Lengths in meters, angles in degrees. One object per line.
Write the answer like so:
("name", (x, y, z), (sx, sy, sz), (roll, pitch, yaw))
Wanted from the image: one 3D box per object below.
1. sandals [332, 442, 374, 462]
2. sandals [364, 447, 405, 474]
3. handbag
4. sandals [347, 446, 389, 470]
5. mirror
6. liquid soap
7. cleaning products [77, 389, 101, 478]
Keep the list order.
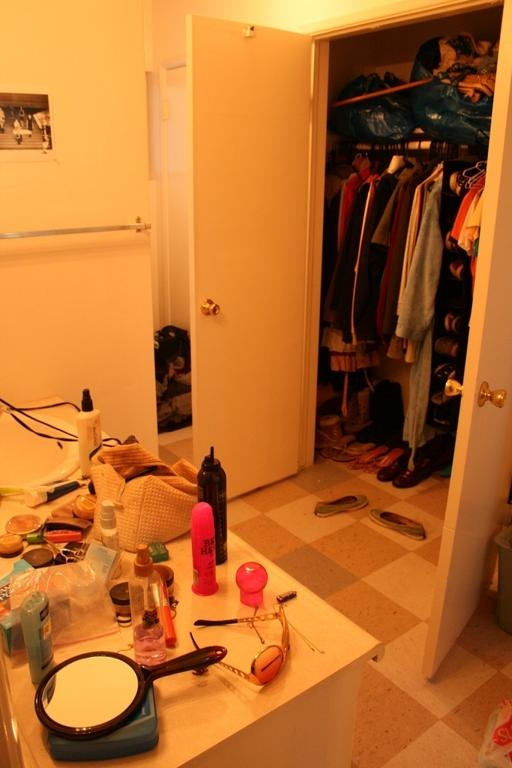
("sandals", (0.567, 0.402, 3.460), (0.271, 0.087, 0.104), (-16, 36, -18))
("sandals", (0.737, 0.441, 3.337), (0.099, 0.070, 0.268), (11, 45, 38))
("handbag", (-0.213, 0.187, 1.263), (0.226, 0.196, 0.265), (-7, 24, -28))
("sandals", (0.671, 0.432, 3.393), (0.106, 0.035, 0.238), (25, 40, 29))
("mirror", (-0.174, 0.397, 0.758), (0.227, 0.037, 0.187), (8, 14, 9))
("liquid soap", (-0.165, 0.336, 0.874), (0.047, 0.174, 0.048), (-8, -4, 41))
("cleaning products", (-0.426, 0.124, 1.428), (0.048, 0.212, 0.064), (-2, 24, -25))
